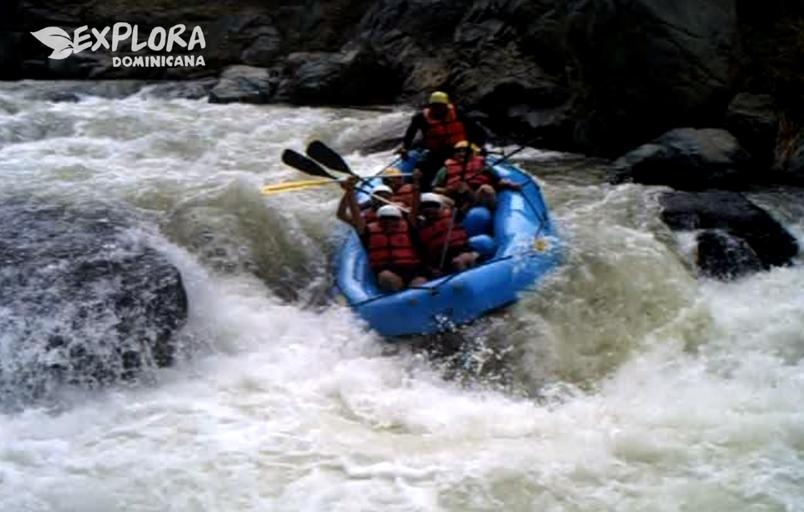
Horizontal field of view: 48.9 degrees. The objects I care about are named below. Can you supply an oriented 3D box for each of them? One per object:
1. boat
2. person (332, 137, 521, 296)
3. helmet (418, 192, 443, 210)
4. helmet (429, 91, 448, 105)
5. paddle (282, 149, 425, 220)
[{"bbox_3d":[0.701,0.051,10.178,2.710,0.851,1.611,-21,42,-31],"label":"boat"},{"bbox_3d":[0.591,-0.216,10.281,2.291,0.435,1.503,-36,64,-14],"label":"person"},{"bbox_3d":[0.325,-0.654,10.228,0.210,0.146,0.184,-18,13,-2],"label":"helmet"},{"bbox_3d":[0.499,-2.137,11.977,0.329,0.179,0.382,-1,17,-2],"label":"helmet"},{"bbox_3d":[-0.635,-0.880,11.166,1.927,0.244,0.398,27,71,9],"label":"paddle"}]
